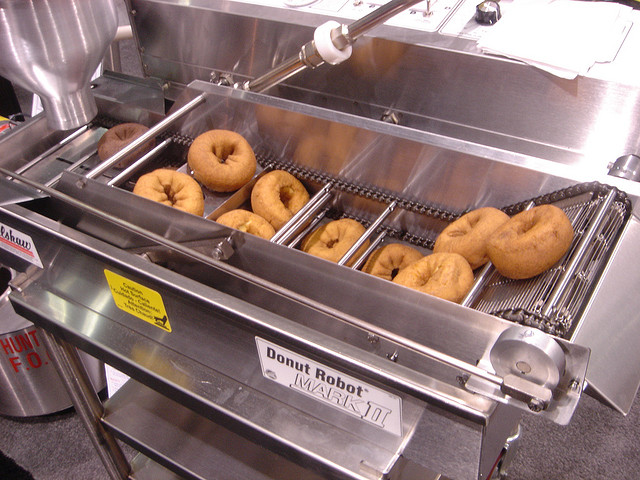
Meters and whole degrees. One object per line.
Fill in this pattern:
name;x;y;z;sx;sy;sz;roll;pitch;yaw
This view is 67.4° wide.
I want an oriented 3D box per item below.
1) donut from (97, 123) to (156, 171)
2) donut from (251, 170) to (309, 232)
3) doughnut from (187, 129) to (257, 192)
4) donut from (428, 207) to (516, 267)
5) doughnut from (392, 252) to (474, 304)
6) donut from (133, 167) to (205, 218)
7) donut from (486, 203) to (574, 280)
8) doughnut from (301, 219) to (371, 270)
donut;-0.504;-0.217;1.243;0.136;0.056;0.149;1;48;-2
donut;-0.107;-0.103;1.174;0.138;0.151;0.049;-2;-23;-16
doughnut;-0.240;-0.196;1.175;0.149;0.153;0.059;34;-28;8
donut;0.310;-0.006;0.967;0.139;0.057;0.145;-26;31;-1
doughnut;0.219;0.068;0.895;0.113;0.045;0.096;-21;50;-11
donut;-0.365;-0.104;1.164;0.147;0.059;0.144;17;-6;36
donut;0.375;0.004;0.855;0.051;0.132;0.136;58;6;-28
doughnut;0.032;-0.002;1.126;0.133;0.078;0.111;31;15;35
